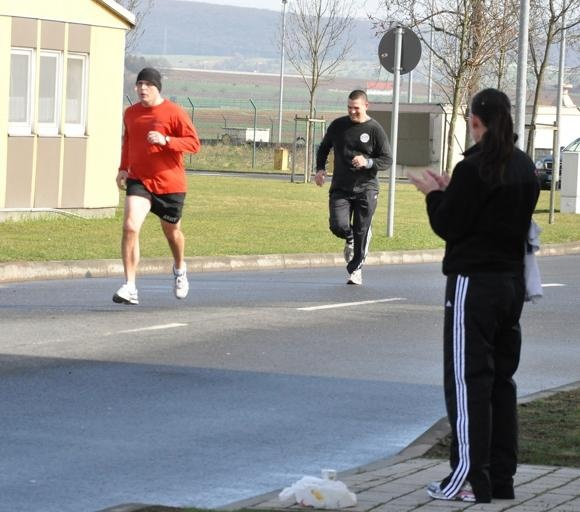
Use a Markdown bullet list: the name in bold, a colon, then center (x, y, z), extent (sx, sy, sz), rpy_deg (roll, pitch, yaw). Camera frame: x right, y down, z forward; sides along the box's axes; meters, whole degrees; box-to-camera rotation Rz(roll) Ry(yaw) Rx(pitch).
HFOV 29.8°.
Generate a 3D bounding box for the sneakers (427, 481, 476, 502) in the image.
- **sneakers**: center (0.796, 1.168, 5.360), extent (0.210, 0.085, 0.088), rpy_deg (7, 1, 11)

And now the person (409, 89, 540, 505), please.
- **person**: center (0.952, 0.172, 5.489), extent (0.568, 2.024, 0.578), rpy_deg (-1, 6, 11)

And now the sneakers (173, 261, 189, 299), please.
- **sneakers**: center (-1.113, 0.265, 11.097), extent (0.155, 0.401, 0.192), rpy_deg (-4, 11, 2)

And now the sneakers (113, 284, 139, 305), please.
- **sneakers**: center (-1.606, 0.375, 10.411), extent (0.131, 0.146, 0.324), rpy_deg (-1, -14, 26)

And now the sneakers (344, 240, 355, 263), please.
- **sneakers**: center (0.704, -0.057, 13.046), extent (0.097, 0.256, 0.114), rpy_deg (3, 25, 8)

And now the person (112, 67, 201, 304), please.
- **person**: center (-1.358, -0.650, 10.488), extent (0.890, 2.273, 0.878), rpy_deg (-4, 6, -21)

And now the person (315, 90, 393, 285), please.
- **person**: center (0.738, -0.758, 12.519), extent (0.870, 2.301, 1.107), rpy_deg (-2, 6, 2)
